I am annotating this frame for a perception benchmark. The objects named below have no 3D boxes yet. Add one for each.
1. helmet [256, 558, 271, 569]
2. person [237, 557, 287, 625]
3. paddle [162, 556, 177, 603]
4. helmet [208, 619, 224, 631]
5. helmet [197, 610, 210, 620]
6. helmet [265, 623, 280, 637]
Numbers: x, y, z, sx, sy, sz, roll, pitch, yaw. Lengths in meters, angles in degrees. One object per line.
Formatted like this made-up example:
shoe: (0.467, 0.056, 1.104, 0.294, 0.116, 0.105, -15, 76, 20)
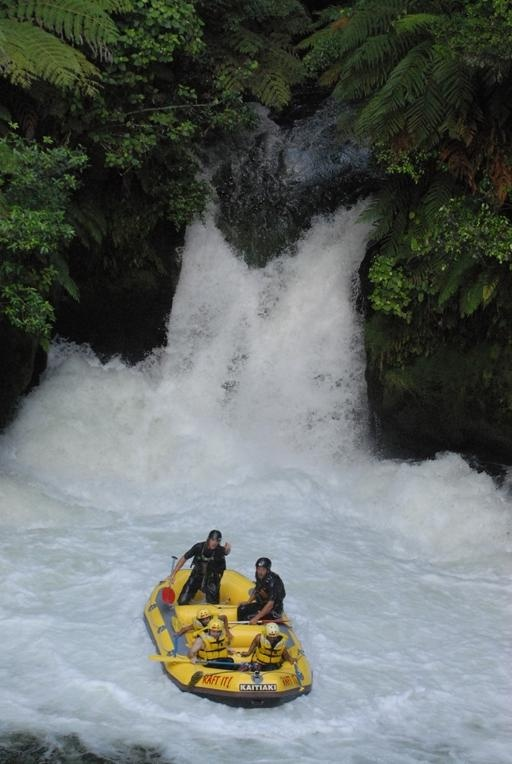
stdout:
helmet: (0.060, 2.052, 9.470, 0.137, 0.145, 0.155, 5, 13, 5)
person: (0.041, 2.467, 9.833, 0.593, 0.953, 0.506, -2, 26, -12)
paddle: (-1.001, 2.318, 9.764, 0.052, 0.210, 0.529, -9, 60, 32)
helmet: (-0.428, 2.519, 8.738, 0.157, 0.109, 0.145, -1, 40, -6)
helmet: (-0.553, 2.471, 8.875, 0.099, 0.092, 0.117, -9, 13, -8)
helmet: (0.154, 2.526, 8.604, 0.146, 0.161, 0.134, 0, 41, -4)
